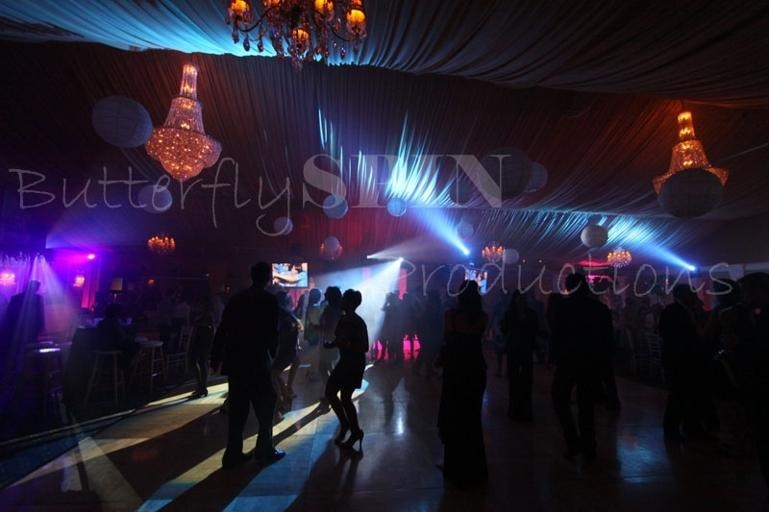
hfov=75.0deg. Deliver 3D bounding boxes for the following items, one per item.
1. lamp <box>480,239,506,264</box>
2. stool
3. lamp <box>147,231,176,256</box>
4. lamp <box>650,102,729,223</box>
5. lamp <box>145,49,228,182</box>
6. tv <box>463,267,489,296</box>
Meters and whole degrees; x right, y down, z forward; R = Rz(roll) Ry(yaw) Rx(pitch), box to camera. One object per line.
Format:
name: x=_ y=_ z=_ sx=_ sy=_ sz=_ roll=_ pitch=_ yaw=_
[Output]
lamp: x=3.552 y=-0.150 z=16.464 sx=0.739 sy=1.100 sz=0.744 roll=0 pitch=-2 yaw=-19
stool: x=-5.224 y=2.259 z=9.709 sx=1.552 sy=1.685 sz=2.216 roll=6 pitch=13 yaw=5
lamp: x=-6.146 y=-0.345 z=13.912 sx=0.568 sy=0.568 sz=0.561 roll=-3 pitch=13 yaw=-13
lamp: x=5.231 y=-1.651 z=8.682 sx=1.388 sy=1.959 sz=1.372 roll=-5 pitch=3 yaw=-32
lamp: x=-3.388 y=-2.293 z=8.478 sx=1.643 sy=2.064 sz=1.632 roll=5 pitch=-4 yaw=-28
tv: x=2.556 y=0.633 z=14.053 sx=0.929 sy=0.828 sz=0.302 roll=5 pitch=-10 yaw=-21
